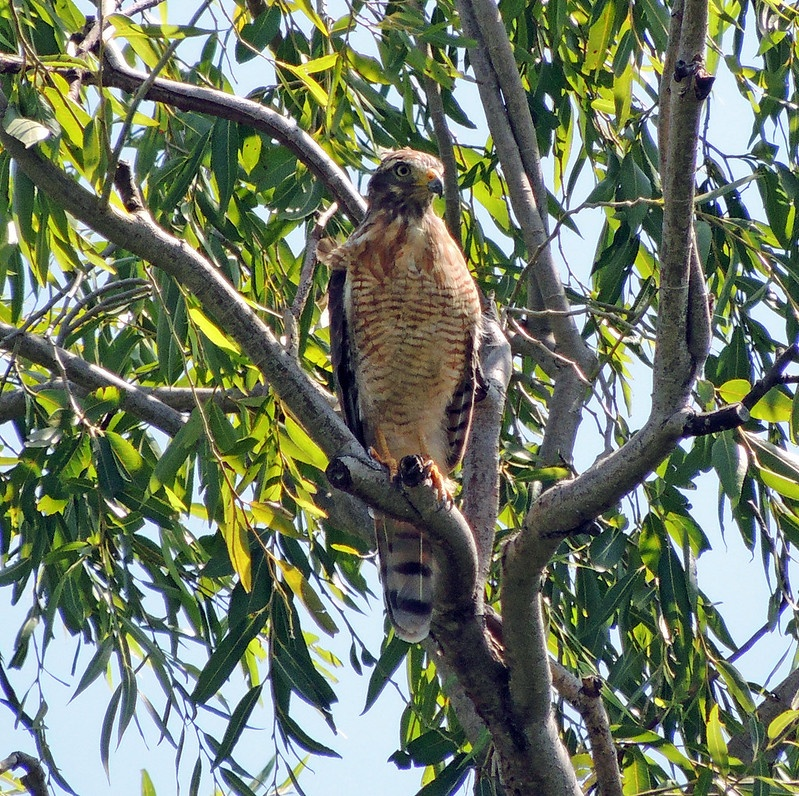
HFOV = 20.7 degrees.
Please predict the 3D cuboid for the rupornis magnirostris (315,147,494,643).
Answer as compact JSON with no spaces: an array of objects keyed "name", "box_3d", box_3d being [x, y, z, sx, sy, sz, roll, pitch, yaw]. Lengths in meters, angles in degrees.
[{"name":"rupornis magnirostris","box_3d":[0.022,0.066,6.267,0.469,1.637,0.977,-5,-49,3]}]
